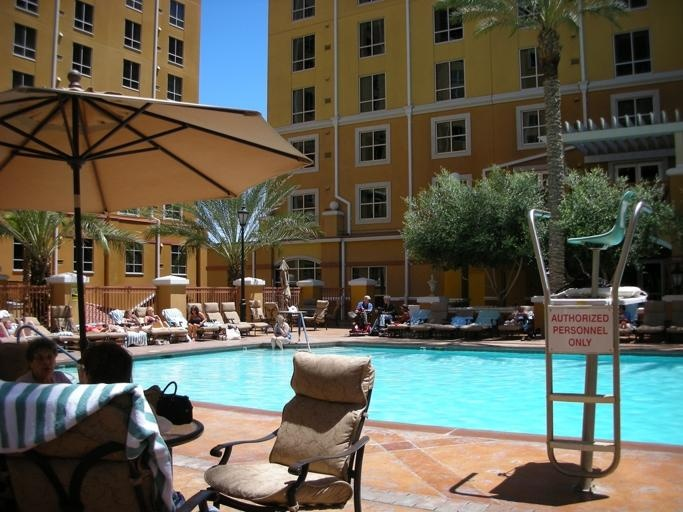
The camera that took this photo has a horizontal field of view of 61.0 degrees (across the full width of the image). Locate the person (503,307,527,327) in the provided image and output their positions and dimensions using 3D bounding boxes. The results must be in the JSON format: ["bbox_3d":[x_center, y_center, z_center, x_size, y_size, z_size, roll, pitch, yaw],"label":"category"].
[{"bbox_3d":[5.922,2.085,19.626,0.756,0.384,0.634,-2,1,6],"label":"person"}]

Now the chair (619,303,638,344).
[{"bbox_3d":[9.379,2.171,18.993,0.872,1.082,0.586,-21,20,-33],"label":"chair"}]

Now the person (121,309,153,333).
[{"bbox_3d":[-6.877,2.191,19.541,0.701,0.852,0.913,3,-6,-34],"label":"person"}]

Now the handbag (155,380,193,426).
[{"bbox_3d":[-1.219,1.059,4.203,0.315,0.297,0.132,0,-3,34],"label":"handbag"}]
